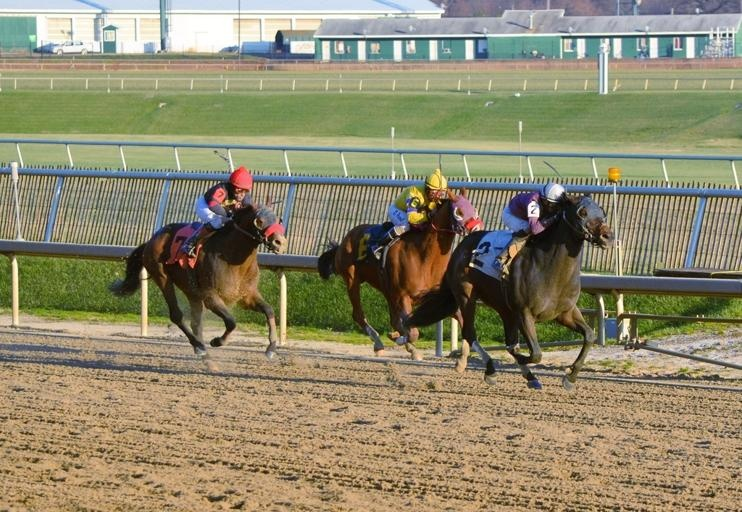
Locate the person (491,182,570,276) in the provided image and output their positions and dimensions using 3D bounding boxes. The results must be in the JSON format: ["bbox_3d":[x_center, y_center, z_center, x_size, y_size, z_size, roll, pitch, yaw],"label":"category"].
[{"bbox_3d":[1.743,-0.389,16.344,0.508,1.166,0.649,-9,42,-48],"label":"person"}]

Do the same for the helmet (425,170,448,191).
[{"bbox_3d":[0.759,-0.911,16.952,0.214,0.179,0.275,3,9,-12],"label":"helmet"}]

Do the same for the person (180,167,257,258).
[{"bbox_3d":[-1.817,-0.535,17.181,0.734,1.118,0.485,30,10,34],"label":"person"}]

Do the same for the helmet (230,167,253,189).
[{"bbox_3d":[-1.584,-0.963,17.124,0.203,0.175,0.280,-8,34,-33],"label":"helmet"}]

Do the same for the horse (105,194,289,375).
[{"bbox_3d":[-2.210,0.269,17.642,3.436,1.947,0.905,7,7,43],"label":"horse"}]

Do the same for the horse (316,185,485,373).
[{"bbox_3d":[0.277,0.270,17.609,0.776,2.107,3.324,2,1,-32],"label":"horse"}]

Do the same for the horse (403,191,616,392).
[{"bbox_3d":[1.542,0.412,16.862,0.878,2.424,3.435,1,4,-36],"label":"horse"}]

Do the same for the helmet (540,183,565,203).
[{"bbox_3d":[2.056,-0.725,16.107,0.261,0.211,0.186,-1,4,7],"label":"helmet"}]
